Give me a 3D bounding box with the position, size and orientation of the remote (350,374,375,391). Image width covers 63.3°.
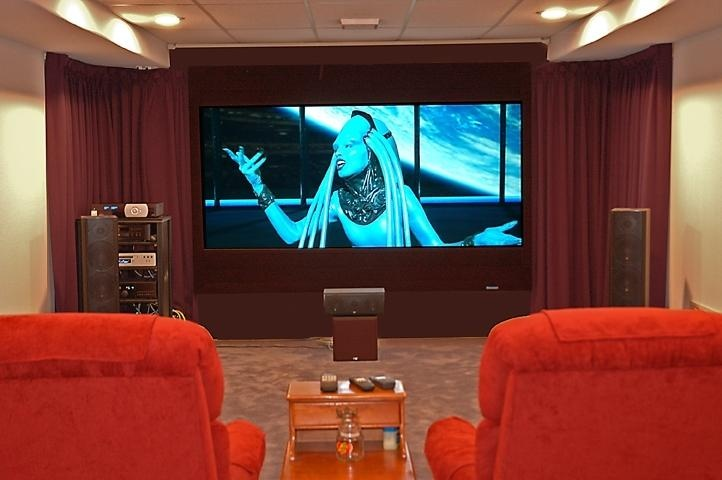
[{"bbox_3d":[0.013,0.830,3.361,0.058,0.036,0.112,1,-4,-15],"label":"remote"}]

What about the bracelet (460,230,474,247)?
[{"bbox_3d":[1.199,0.013,6.588,0.140,0.138,0.107,2,-3,7],"label":"bracelet"}]

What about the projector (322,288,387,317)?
[{"bbox_3d":[-0.047,0.447,4.217,0.383,0.168,0.217,-1,-2,0],"label":"projector"}]

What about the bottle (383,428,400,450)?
[{"bbox_3d":[0.169,1.099,3.242,0.091,0.113,0.064,-2,9,-5],"label":"bottle"}]

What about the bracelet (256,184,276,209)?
[{"bbox_3d":[-1.053,-0.470,6.404,0.175,0.232,0.093,-7,7,6],"label":"bracelet"}]

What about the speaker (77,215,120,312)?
[{"bbox_3d":[-2.506,0.234,5.616,0.340,0.914,0.215,-3,9,-10],"label":"speaker"}]
